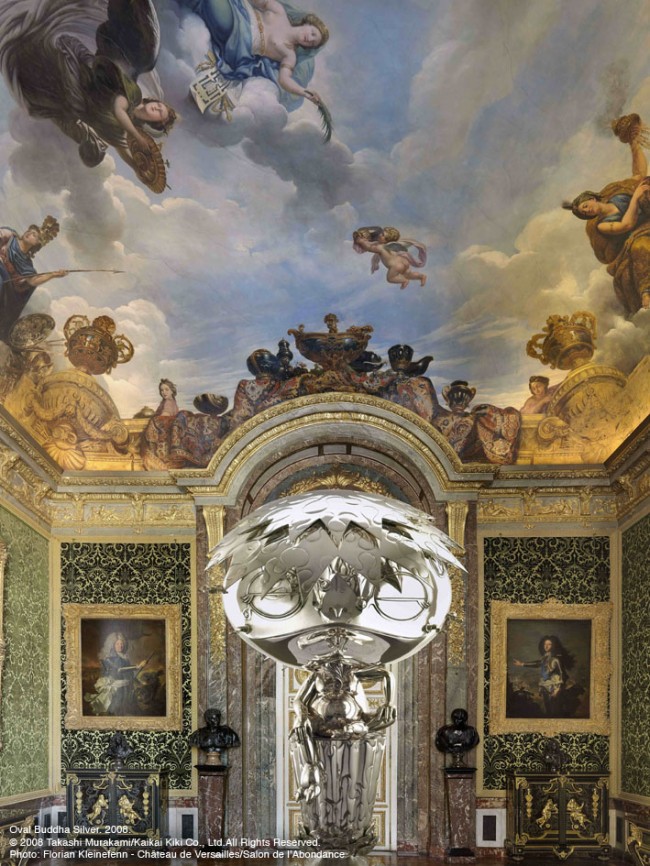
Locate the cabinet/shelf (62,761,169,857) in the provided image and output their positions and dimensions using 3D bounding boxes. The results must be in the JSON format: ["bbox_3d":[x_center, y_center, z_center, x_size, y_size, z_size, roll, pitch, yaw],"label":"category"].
[{"bbox_3d":[-3.157,5.733,25.590,1.285,1.070,0.459,-1,-12,2],"label":"cabinet/shelf"}]

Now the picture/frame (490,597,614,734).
[{"bbox_3d":[3.448,3.610,25.796,2.214,2.301,0.193,0,-11,6],"label":"picture/frame"}]

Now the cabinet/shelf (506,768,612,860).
[{"bbox_3d":[3.472,5.734,25.307,1.325,1.065,0.459,0,-12,1],"label":"cabinet/shelf"}]

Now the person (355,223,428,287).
[{"bbox_3d":[0.940,-2.750,25.272,1.361,0.780,0.555,28,32,32],"label":"person"}]

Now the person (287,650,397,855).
[{"bbox_3d":[0.151,3.043,15.697,1.034,2.074,0.819,-8,11,-4],"label":"person"}]
